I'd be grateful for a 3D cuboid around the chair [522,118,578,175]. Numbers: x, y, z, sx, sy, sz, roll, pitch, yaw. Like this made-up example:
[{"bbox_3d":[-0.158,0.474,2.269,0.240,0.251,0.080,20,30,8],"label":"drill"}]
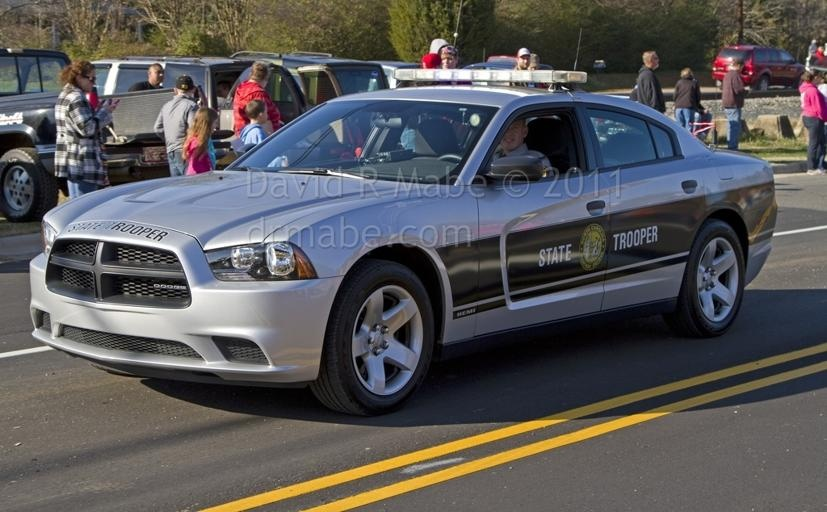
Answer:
[{"bbox_3d":[1.383,-1.053,7.914,0.406,0.544,0.556,2,2,27],"label":"chair"}]
